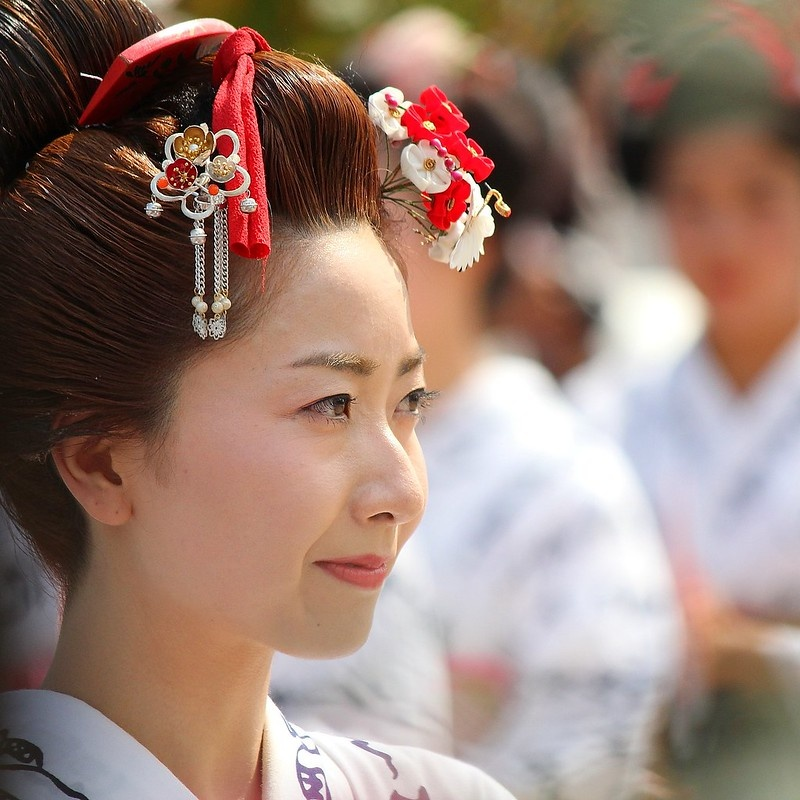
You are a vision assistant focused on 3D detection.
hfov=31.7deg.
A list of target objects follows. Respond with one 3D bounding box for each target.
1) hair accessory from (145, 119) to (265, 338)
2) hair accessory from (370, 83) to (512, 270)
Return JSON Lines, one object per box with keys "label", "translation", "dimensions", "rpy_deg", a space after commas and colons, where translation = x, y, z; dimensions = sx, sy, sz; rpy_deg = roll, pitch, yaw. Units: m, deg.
{"label": "hair accessory", "translation": [-0.275, -0.228, 1.917], "dimensions": [0.154, 0.289, 0.064], "rpy_deg": [13, 11, 3]}
{"label": "hair accessory", "translation": [0.022, -0.339, 2.181], "dimensions": [0.318, 0.236, 0.226], "rpy_deg": [4, 0, 10]}
